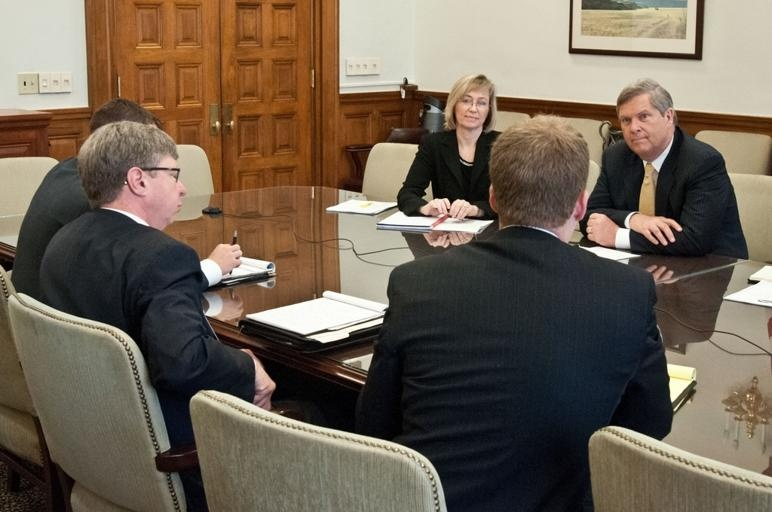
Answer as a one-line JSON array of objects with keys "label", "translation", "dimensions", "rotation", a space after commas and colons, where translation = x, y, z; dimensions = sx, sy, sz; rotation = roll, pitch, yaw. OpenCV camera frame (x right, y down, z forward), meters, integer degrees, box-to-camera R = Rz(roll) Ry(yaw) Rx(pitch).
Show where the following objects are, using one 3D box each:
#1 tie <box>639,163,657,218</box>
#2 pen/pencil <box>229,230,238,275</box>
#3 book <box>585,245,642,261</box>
[{"label": "tie", "translation": [1.410, -0.361, 3.317], "dimensions": [0.072, 0.337, 0.036], "rotation": [5, -27, 14]}, {"label": "pen/pencil", "translation": [-0.674, -0.012, 2.692], "dimensions": [0.029, 0.195, 0.025], "rotation": [5, 6, -35]}, {"label": "book", "translation": [0.969, -0.013, 2.580], "dimensions": [0.251, 0.026, 0.203], "rotation": [5, 9, 25]}]
